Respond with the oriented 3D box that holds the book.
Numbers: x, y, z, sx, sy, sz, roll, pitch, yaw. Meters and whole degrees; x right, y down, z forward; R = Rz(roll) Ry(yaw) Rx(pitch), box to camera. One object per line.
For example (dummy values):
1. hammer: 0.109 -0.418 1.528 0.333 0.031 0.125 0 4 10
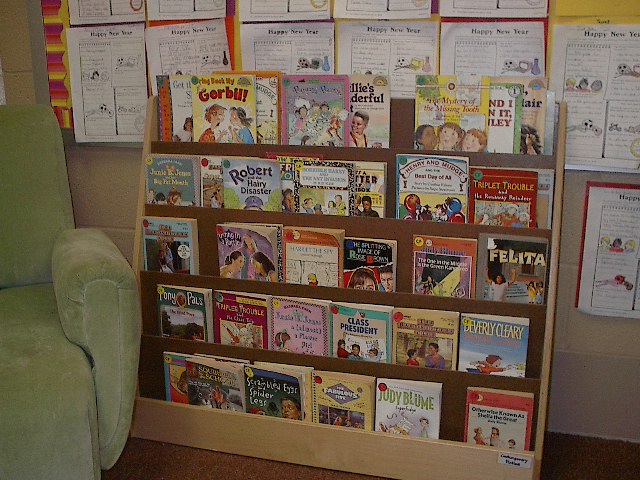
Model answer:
1. book: 0.150 0.062 2.034 1.205 0.958 0.479 3 11 12
